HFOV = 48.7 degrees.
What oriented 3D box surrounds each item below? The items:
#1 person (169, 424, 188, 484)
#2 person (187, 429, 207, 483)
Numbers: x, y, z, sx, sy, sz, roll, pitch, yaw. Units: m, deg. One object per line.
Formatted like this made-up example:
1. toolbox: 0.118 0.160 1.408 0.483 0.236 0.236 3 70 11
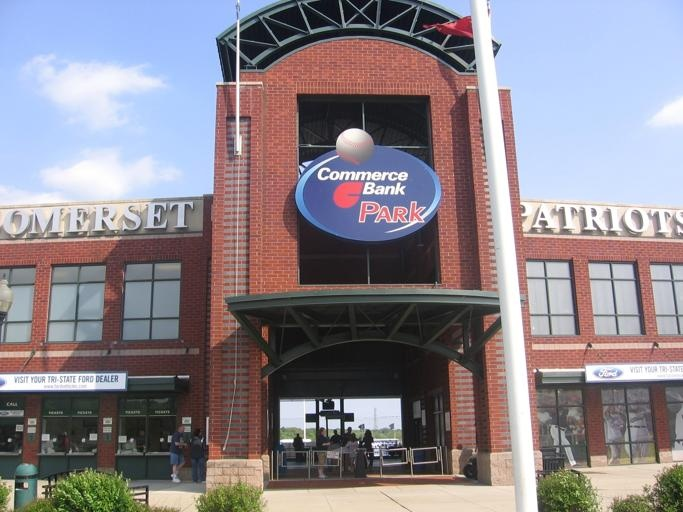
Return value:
1. person: -6.205 7.505 28.763 0.622 2.239 1.315 2 -20 -12
2. person: -5.399 7.500 28.421 0.586 2.034 1.053 2 -20 -11
